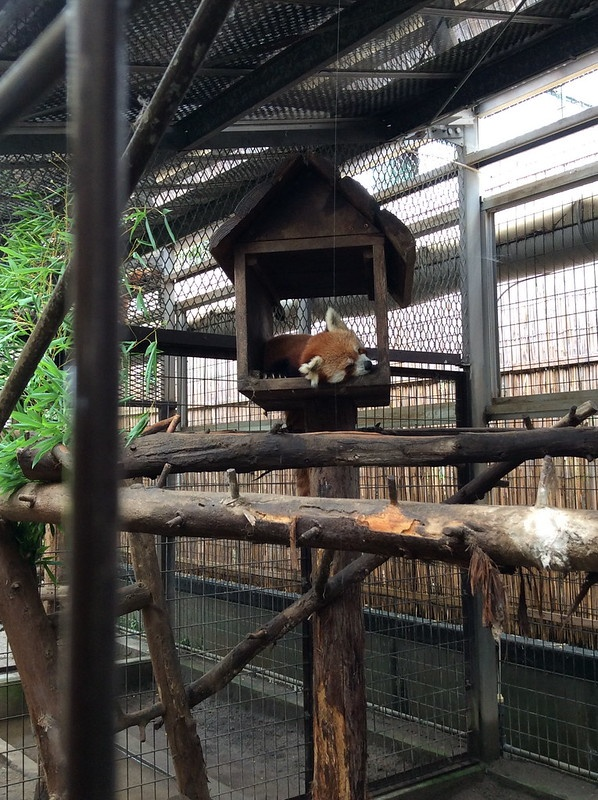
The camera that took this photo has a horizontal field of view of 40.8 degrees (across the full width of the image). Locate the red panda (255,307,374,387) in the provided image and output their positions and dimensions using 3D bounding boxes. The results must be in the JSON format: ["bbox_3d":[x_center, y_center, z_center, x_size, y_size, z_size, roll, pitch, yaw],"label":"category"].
[{"bbox_3d":[0.034,-0.196,3.232,0.519,0.293,0.330,10,38,45],"label":"red panda"}]

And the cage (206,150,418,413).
[{"bbox_3d":[0.050,-0.390,3.156,0.895,1.173,0.892,-1,-5,9],"label":"cage"}]
